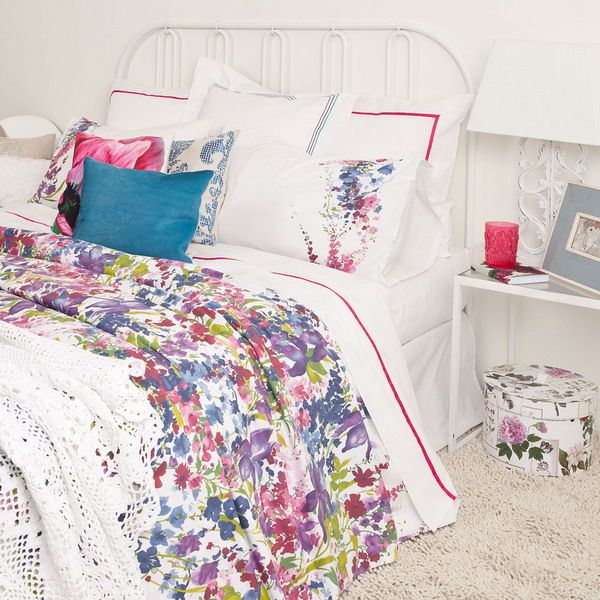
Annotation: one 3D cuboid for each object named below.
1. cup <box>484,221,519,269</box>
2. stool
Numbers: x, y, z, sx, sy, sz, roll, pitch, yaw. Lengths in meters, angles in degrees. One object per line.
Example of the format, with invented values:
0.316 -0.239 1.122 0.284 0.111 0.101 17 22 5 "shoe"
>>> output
0.643 -0.180 1.902 0.153 0.158 0.139 4 12 10 "cup"
0.727 0.383 1.845 0.347 0.239 0.317 5 13 24 "stool"
